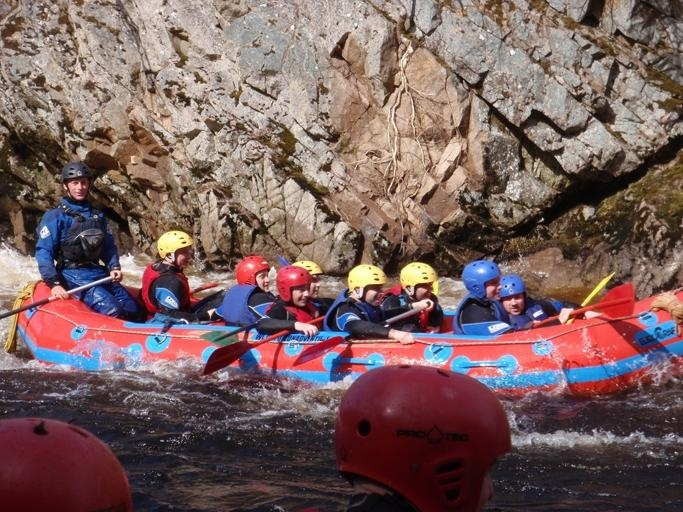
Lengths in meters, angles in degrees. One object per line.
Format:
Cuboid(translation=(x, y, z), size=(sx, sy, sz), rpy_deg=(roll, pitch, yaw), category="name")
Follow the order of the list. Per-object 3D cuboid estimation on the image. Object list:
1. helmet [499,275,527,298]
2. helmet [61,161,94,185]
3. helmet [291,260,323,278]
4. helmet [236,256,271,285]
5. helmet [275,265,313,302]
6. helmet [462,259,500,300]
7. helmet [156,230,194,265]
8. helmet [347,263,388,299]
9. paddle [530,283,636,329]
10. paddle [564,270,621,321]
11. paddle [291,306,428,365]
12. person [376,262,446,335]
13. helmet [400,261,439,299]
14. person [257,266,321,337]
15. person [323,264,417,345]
Cuboid(translation=(2.008, 0.392, 10.995), size=(0.232, 0.223, 0.302), rpy_deg=(-4, -28, -45), category="helmet")
Cuboid(translation=(-3.438, -1.092, 11.938), size=(0.316, 0.219, 0.382), rpy_deg=(-1, -20, -17), category="helmet")
Cuboid(translation=(-0.440, 0.173, 11.745), size=(0.340, 0.119, 0.225), rpy_deg=(5, -2, 29), category="helmet")
Cuboid(translation=(-1.159, 0.211, 11.824), size=(0.444, 0.326, 0.316), rpy_deg=(-2, -10, 12), category="helmet")
Cuboid(translation=(-0.615, 0.329, 11.335), size=(0.511, 0.414, 0.371), rpy_deg=(3, 4, 14), category="helmet")
Cuboid(translation=(1.706, 0.292, 11.191), size=(0.507, 0.426, 0.409), rpy_deg=(-5, -3, 18), category="helmet")
Cuboid(translation=(-2.136, -0.112, 12.079), size=(0.547, 0.389, 0.376), rpy_deg=(15, -2, -5), category="helmet")
Cuboid(translation=(0.275, 0.282, 11.338), size=(0.478, 0.367, 0.343), rpy_deg=(-26, -6, 20), category="helmet")
Cuboid(translation=(2.736, 0.646, 10.460), size=(1.279, 0.420, 0.170), rpy_deg=(-16, -31, 34), category="paddle")
Cuboid(translation=(3.383, 0.534, 12.286), size=(0.941, 0.122, 0.051), rpy_deg=(-39, 3, -20), category="paddle")
Cuboid(translation=(0.197, 0.964, 10.802), size=(1.370, 0.177, 0.060), rpy_deg=(-24, 34, -3), category="paddle")
Cuboid(translation=(0.975, 0.494, 11.513), size=(0.991, 0.920, 0.698), rpy_deg=(8, 25, 30), category="person")
Cuboid(translation=(0.971, 0.302, 11.436), size=(0.454, 0.335, 0.386), rpy_deg=(6, 2, 5), category="helmet")
Cuboid(translation=(-0.676, 0.575, 11.225), size=(0.782, 0.702, 1.233), rpy_deg=(-5, -5, 13), category="person")
Cuboid(translation=(0.253, 0.604, 11.438), size=(1.104, 1.318, 0.844), rpy_deg=(-3, -4, 13), category="person")
